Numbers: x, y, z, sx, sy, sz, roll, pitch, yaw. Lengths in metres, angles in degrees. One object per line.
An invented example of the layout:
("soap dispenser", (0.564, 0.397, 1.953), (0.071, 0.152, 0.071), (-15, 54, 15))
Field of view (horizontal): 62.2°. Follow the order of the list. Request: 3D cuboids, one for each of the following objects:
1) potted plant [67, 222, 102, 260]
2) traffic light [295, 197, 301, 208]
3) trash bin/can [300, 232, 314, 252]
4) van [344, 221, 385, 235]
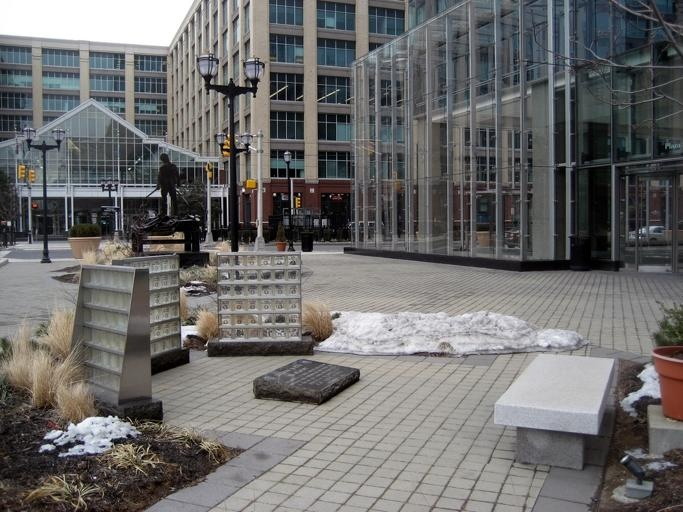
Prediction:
("potted plant", (-13.043, -0.698, 28.847), (1.718, 1.773, 1.740), (0, 2, -19))
("traffic light", (-4.703, -5.823, 61.489), (0.616, 1.025, 0.598), (-3, 4, -4))
("trash bin/can", (-1.977, -0.794, 34.861), (0.997, 1.482, 1.003), (-1, 6, -11))
("van", (1.370, -1.523, 32.804), (1.818, 0.832, 3.039), (0, -1, 44))
